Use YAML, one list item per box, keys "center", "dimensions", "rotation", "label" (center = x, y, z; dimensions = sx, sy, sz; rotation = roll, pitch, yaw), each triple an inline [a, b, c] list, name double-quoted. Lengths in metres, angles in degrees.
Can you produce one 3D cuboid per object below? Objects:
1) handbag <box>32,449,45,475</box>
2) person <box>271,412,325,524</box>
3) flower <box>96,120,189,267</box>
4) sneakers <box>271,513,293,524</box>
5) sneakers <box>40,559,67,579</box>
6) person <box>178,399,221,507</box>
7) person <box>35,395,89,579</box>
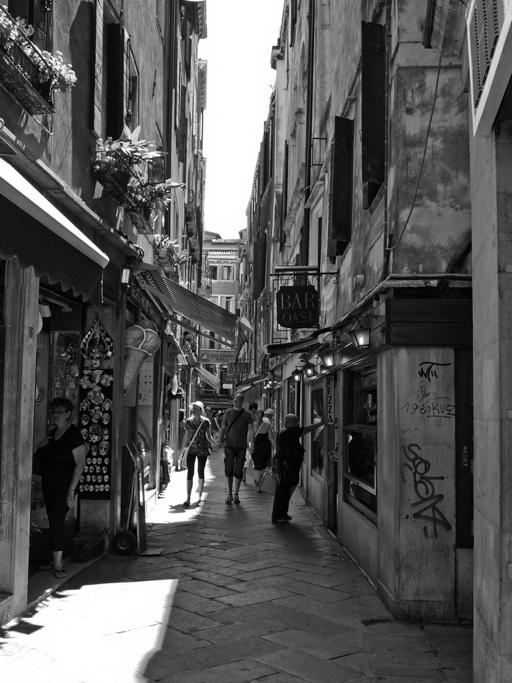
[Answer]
- center: [-1.782, 0.982, 6.985]
  dimensions: [0.067, 0.223, 0.228]
  rotation: [2, -3, -27]
  label: "handbag"
- center: [0.494, 1.691, 11.452]
  dimensions: [0.537, 1.408, 1.443]
  rotation: [1, -3, 7]
  label: "person"
- center: [-1.174, -1.786, 8.770]
  dimensions: [0.494, 1.000, 2.087]
  rotation: [1, -11, 8]
  label: "flower"
- center: [0.351, 2.288, 11.010]
  dimensions: [0.354, 0.111, 0.208]
  rotation: [5, -5, -29]
  label: "sneakers"
- center: [-1.664, 1.870, 6.978]
  dimensions: [0.090, 0.172, 0.301]
  rotation: [3, -10, -30]
  label: "sneakers"
- center: [-0.902, 1.740, 13.428]
  dimensions: [0.498, 1.568, 2.635]
  rotation: [1, -4, -4]
  label: "person"
- center: [-1.618, 1.184, 7.022]
  dimensions: [0.428, 1.432, 0.365]
  rotation: [2, -3, -29]
  label: "person"
